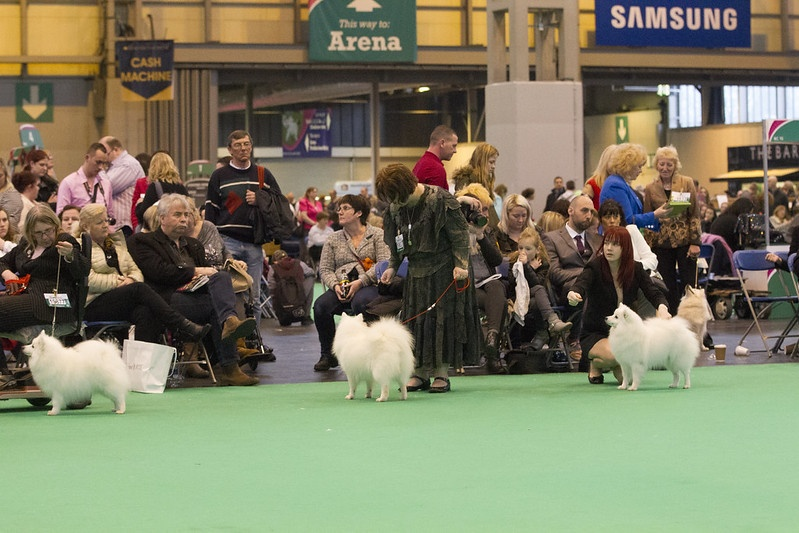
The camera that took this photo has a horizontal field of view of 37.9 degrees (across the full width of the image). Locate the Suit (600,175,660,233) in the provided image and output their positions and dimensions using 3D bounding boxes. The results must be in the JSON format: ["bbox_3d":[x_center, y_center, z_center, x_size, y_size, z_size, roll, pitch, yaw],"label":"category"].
[{"bbox_3d":[2.488,-0.682,12.941,0.543,0.833,0.593,-6,8,-5],"label":"Suit"}]

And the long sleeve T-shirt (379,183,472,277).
[{"bbox_3d":[0.259,-0.335,10.940,0.697,0.994,0.467,-6,1,26],"label":"long sleeve T-shirt"}]

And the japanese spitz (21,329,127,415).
[{"bbox_3d":[-2.813,0.987,10.283,0.803,0.773,0.482,-3,-14,-13],"label":"japanese spitz"}]

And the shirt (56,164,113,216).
[{"bbox_3d":[-3.507,-0.831,13.094,0.703,0.755,0.383,0,-3,-40],"label":"shirt"}]

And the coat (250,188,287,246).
[{"bbox_3d":[-1.412,-0.527,12.458,0.489,0.712,0.329,3,0,-24],"label":"coat"}]

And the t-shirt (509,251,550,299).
[{"bbox_3d":[1.444,0.101,12.282,0.310,0.507,0.180,8,-5,6],"label":"t-shirt"}]

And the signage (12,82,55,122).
[{"bbox_3d":[-8.478,-3.736,27.171,0.925,1.161,0.124,-1,-18,-17],"label":"signage"}]

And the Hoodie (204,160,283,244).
[{"bbox_3d":[-1.705,-0.665,12.626,0.752,0.845,0.425,2,13,-1],"label":"Hoodie"}]

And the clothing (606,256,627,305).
[{"bbox_3d":[2.135,0.168,11.494,0.073,0.355,0.234,-11,12,-9],"label":"clothing"}]

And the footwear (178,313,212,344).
[{"bbox_3d":[-2.045,0.611,11.353,0.205,0.198,0.486,11,-10,-39],"label":"footwear"}]

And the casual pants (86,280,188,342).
[{"bbox_3d":[-2.515,0.422,11.449,1.087,0.523,0.977,-16,3,-31],"label":"casual pants"}]

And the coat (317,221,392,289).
[{"bbox_3d":[-0.473,-0.058,12.348,0.726,0.851,0.493,-1,-7,5],"label":"coat"}]

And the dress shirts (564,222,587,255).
[{"bbox_3d":[1.912,-0.296,12.568,0.178,0.290,0.070,-3,-17,-19],"label":"dress shirts"}]

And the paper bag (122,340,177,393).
[{"bbox_3d":[-2.421,0.976,11.174,0.488,0.487,0.343,4,-5,18],"label":"paper bag"}]

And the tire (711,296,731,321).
[{"bbox_3d":[4.554,0.600,16.549,0.087,0.261,0.238,-3,25,-40],"label":"tire"}]

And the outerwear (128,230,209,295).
[{"bbox_3d":[-2.301,-0.026,11.762,0.561,0.790,0.759,-14,-11,41],"label":"outerwear"}]

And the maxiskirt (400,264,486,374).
[{"bbox_3d":[0.380,0.385,11.148,0.770,1.121,0.700,5,16,17],"label":"maxiskirt"}]

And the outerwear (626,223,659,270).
[{"bbox_3d":[2.521,-0.214,12.166,0.144,0.508,0.347,-3,-18,-35],"label":"outerwear"}]

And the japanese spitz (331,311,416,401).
[{"bbox_3d":[-0.266,0.855,10.704,0.900,0.789,0.474,-2,0,38],"label":"japanese spitz"}]

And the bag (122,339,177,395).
[{"bbox_3d":[-2.434,0.977,11.168,0.452,0.474,0.302,3,-6,28],"label":"bag"}]

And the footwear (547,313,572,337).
[{"bbox_3d":[1.625,0.608,12.084,0.117,0.281,0.325,0,-12,-31],"label":"footwear"}]

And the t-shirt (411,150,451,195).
[{"bbox_3d":[0.333,-0.951,11.583,0.289,0.539,0.584,-4,10,-22],"label":"t-shirt"}]

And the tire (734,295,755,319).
[{"bbox_3d":[4.717,0.568,15.993,0.144,0.444,0.405,-1,-2,-4],"label":"tire"}]

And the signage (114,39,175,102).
[{"bbox_3d":[-5.563,-4.316,25.618,1.236,1.469,0.086,1,7,-1],"label":"signage"}]

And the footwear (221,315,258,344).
[{"bbox_3d":[-1.566,0.574,11.320,0.348,0.179,0.280,-26,37,8],"label":"footwear"}]

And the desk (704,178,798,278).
[{"bbox_3d":[5.075,-0.586,17.663,0.894,1.285,0.521,17,12,14],"label":"desk"}]
